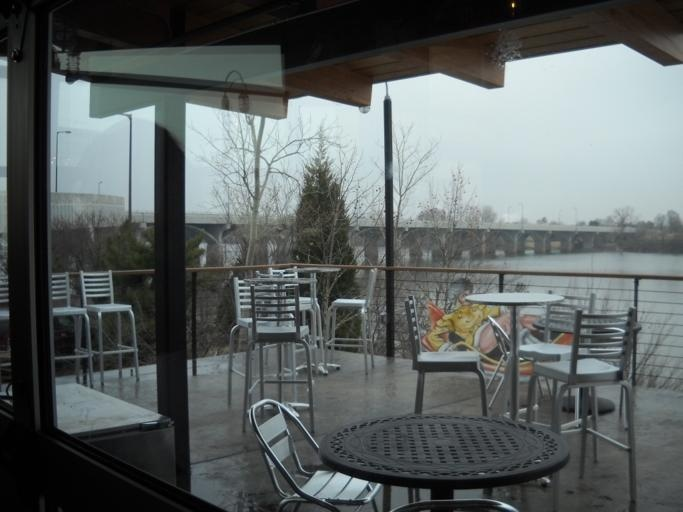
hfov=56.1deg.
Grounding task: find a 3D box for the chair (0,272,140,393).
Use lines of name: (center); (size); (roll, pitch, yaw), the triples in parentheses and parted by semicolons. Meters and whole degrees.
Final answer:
chair: (-1.249, 0.383, 3.220); (0.438, 0.612, 0.293); (-1, 3, -37)
